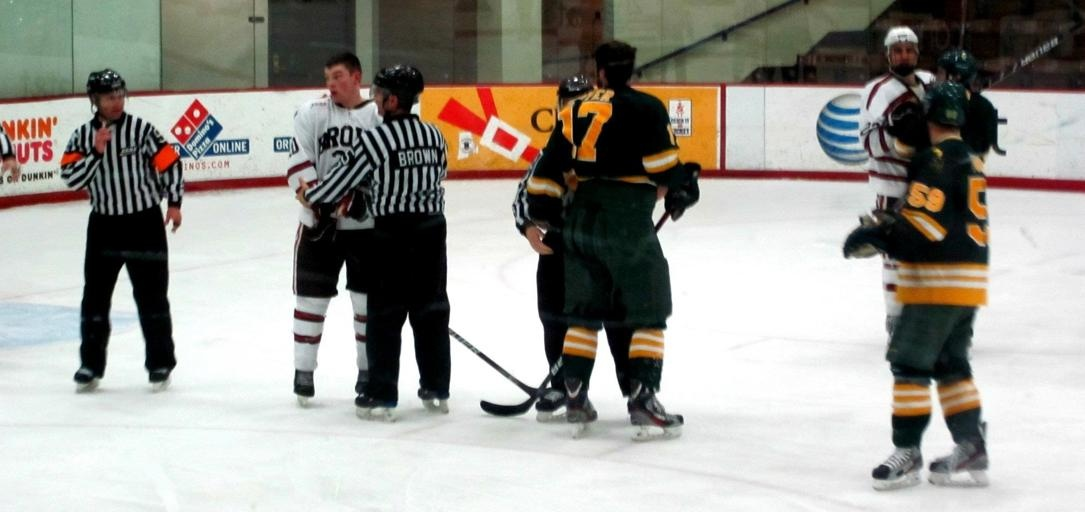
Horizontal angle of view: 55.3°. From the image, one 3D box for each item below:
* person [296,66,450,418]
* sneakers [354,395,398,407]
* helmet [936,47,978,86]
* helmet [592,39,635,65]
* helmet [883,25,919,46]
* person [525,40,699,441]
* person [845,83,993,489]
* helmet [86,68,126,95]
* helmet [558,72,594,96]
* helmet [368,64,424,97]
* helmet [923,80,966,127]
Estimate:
[{"bbox_3d":[-1.361,-0.113,9.033,1.022,3.010,0.663,-2,13,-6],"label":"person"},{"bbox_3d":[-1.494,1.268,9.085,0.369,0.117,0.116,3,-1,-2],"label":"sneakers"},{"bbox_3d":[3.838,-1.729,9.629,0.308,0.335,0.519,5,12,24],"label":"helmet"},{"bbox_3d":[0.608,-1.744,8.888,0.262,0.201,0.286,2,14,7],"label":"helmet"},{"bbox_3d":[3.451,-2.099,9.966,0.264,0.182,0.215,2,12,11],"label":"helmet"},{"bbox_3d":[0.585,-0.146,8.789,1.412,3.266,0.854,0,13,6],"label":"person"},{"bbox_3d":[3.038,0.226,8.198,1.133,3.144,0.826,-3,13,-8],"label":"person"},{"bbox_3d":[-4.085,-1.594,9.581,0.288,0.216,0.478,-4,12,-17],"label":"helmet"},{"bbox_3d":[0.242,-1.512,9.284,0.212,0.105,0.333,-7,1,-4],"label":"helmet"},{"bbox_3d":[-1.313,-1.530,9.066,0.410,0.234,0.315,8,2,-15],"label":"helmet"},{"bbox_3d":[3.240,-1.205,8.376,0.347,0.297,0.390,-7,2,7],"label":"helmet"}]
